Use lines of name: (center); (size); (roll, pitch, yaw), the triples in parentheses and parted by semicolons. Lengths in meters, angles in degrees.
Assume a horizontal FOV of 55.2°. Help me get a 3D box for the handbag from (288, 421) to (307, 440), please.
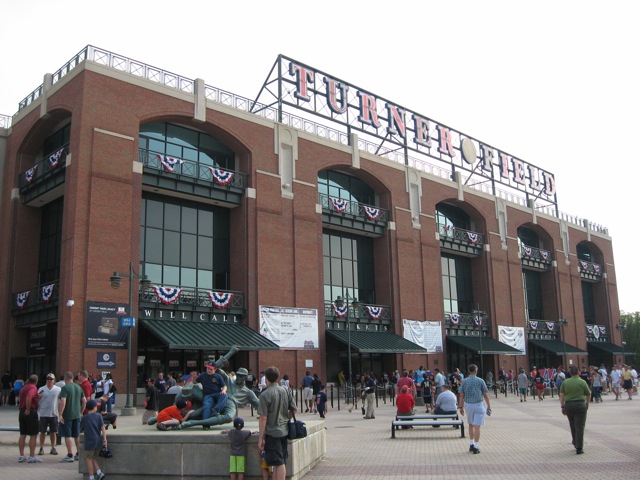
handbag: (-0.489, 3.905, 12.799); (0.399, 0.459, 0.311); (-2, -1, -9)

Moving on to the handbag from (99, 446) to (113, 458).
handbag: (-5.002, 4.886, 14.195); (0.293, 0.313, 0.139); (1, -2, 6)

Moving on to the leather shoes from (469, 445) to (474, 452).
leather shoes: (4.172, 5.717, 16.896); (0.111, 0.210, 0.432); (-5, -18, 4)

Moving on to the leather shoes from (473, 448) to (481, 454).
leather shoes: (4.322, 5.742, 16.781); (0.160, 0.155, 0.351); (-17, -22, 36)

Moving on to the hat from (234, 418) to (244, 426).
hat: (-1.811, 4.030, 13.576); (0.199, 0.246, 0.340); (0, -18, -11)
